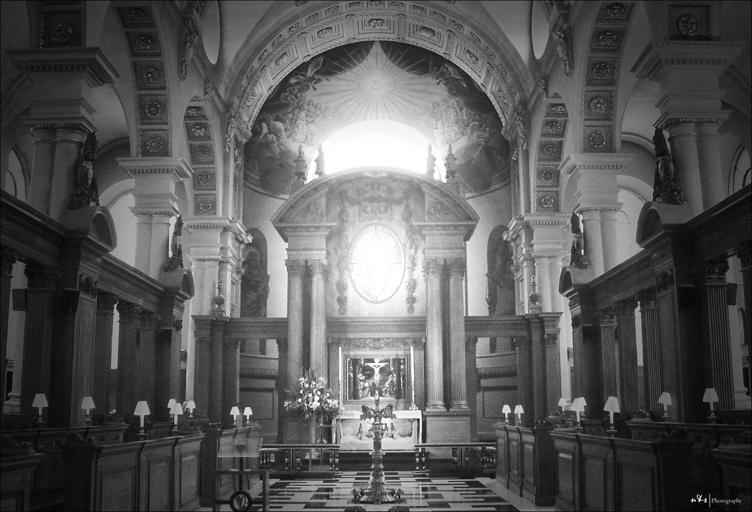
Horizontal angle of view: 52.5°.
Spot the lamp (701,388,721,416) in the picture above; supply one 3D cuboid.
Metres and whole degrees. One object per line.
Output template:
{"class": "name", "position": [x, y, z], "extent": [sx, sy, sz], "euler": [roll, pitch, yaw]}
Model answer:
{"class": "lamp", "position": [6.592, 2.867, 15.005], "extent": [0.321, 0.572, 0.532], "euler": [-8, -17, 22]}
